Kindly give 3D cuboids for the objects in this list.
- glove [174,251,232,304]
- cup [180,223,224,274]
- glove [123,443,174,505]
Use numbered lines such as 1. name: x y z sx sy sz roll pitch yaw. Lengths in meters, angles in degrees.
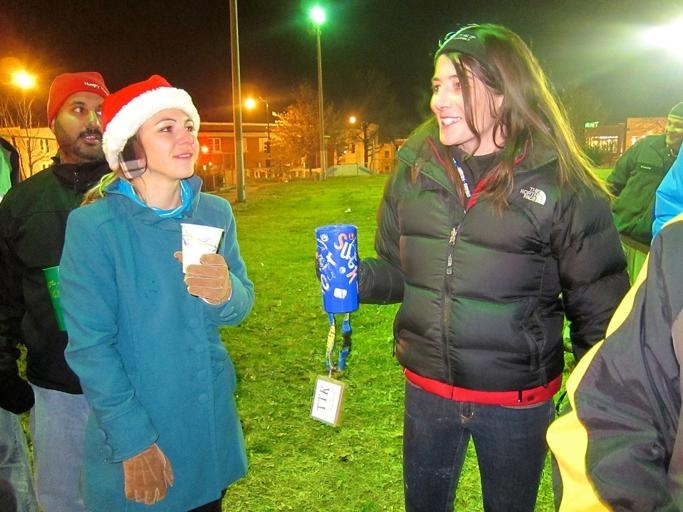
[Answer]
1. glove: -0.676 0.112 2.656 0.272 0.316 0.180 0 3 -17
2. cup: -0.660 -0.047 2.602 0.188 0.220 0.202 11 5 -1
3. glove: -0.911 1.027 2.525 0.225 0.291 0.109 -12 14 -23
